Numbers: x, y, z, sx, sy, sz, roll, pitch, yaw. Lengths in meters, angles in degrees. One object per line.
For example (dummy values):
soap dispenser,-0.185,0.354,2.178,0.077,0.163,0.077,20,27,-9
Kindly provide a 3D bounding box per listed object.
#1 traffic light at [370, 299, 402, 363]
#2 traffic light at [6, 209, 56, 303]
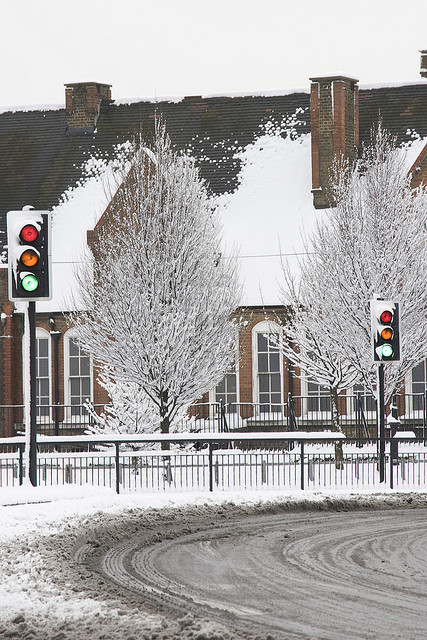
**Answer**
traffic light,2.843,0.174,25.019,0.468,1.150,0.321,0,27,9
traffic light,-2.566,-0.920,21.049,0.605,1.269,0.415,-2,-5,-11
